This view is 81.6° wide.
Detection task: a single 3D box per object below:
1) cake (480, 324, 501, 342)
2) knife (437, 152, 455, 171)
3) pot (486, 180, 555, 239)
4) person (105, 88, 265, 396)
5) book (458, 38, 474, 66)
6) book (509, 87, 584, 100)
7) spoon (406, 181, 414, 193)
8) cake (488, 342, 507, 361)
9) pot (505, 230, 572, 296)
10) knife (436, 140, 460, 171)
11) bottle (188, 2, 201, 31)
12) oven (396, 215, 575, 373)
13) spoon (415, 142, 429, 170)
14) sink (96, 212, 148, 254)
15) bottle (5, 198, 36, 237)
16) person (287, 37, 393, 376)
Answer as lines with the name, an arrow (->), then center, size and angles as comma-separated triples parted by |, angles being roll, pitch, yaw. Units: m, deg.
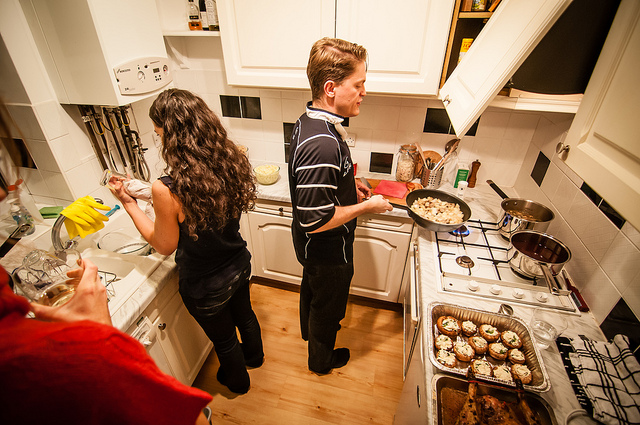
cake -> 0.862, 0.611, 1.899 | 0.097, 0.044, 0.075 | 20, 37, 28
knife -> 0.950, -0.400, 2.822 | 0.031, 0.189, 0.026 | 42, 6, -2
pot -> 1.236, -0.031, 2.323 | 0.202, 0.132, 0.363 | -18, 30, -13
person -> -0.798, 0.306, 2.291 | 0.863, 1.887, 0.723 | 1, 25, 3
book -> 0.908, -1.022, 2.321 | 0.068, 0.115, 0.182 | 11, 34, 17
book -> 1.279, -0.671, 2.083 | 0.216, 0.051, 0.192 | 3, 22, 11
spoon -> 0.682, -0.200, 2.825 | 0.073, 0.072, 0.024 | 2, -14, 20
cake -> 0.878, 0.688, 1.850 | 0.080, 0.050, 0.070 | -6, 33, -9
pot -> 1.216, 0.238, 2.101 | 0.226, 0.158, 0.407 | 3, 38, 13
knife -> 0.908, -0.391, 2.715 | 0.037, 0.356, 0.047 | 22, 44, 3
bottle -> -0.877, -1.374, 2.596 | 0.070, 0.161, 0.051 | -10, 34, -15
oven -> 0.960, 0.595, 2.480 | 0.911, 1.036, 0.785 | -1, 33, -2
spoon -> 0.768, -0.452, 2.824 | 0.101, 0.164, 0.205 | 2, 32, 3
sink -> -1.242, 0.154, 2.386 | 0.264, 0.112, 0.303 | 1, 32, 2
bottle -> -1.671, 0.029, 2.103 | 0.090, 0.198, 0.164 | -23, 39, -31
person -> 0.107, 0.086, 2.328 | 0.549, 2.082, 0.655 | -4, 33, -6
